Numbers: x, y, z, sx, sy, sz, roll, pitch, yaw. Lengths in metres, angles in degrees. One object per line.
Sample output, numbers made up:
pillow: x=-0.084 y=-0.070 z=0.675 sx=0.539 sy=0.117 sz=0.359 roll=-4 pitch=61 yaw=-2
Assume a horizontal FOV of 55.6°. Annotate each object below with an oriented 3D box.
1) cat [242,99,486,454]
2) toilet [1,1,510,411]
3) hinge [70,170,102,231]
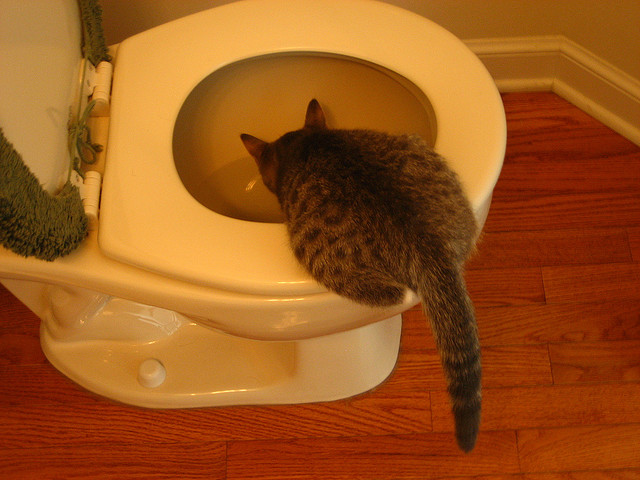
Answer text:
cat: x=0.073 y=-0.020 z=1.013 sx=0.220 sy=0.251 sz=0.635 roll=-30 pitch=65 yaw=-2
toilet: x=-0.123 y=-0.047 z=1.017 sx=0.575 sy=0.650 sz=0.406 roll=-7 pitch=76 yaw=-2
hinge: x=-0.354 y=-0.065 z=0.936 sx=0.039 sy=0.039 sz=0.092 roll=-14 pitch=64 yaw=-6
